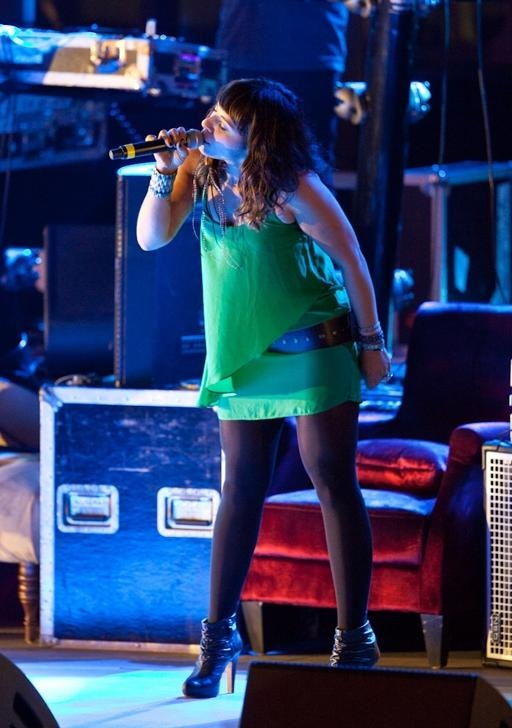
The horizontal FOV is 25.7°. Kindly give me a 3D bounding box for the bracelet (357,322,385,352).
[{"bbox_3d":[0.223,-0.052,2.137,0.037,0.040,0.050,-2,7,-6],"label":"bracelet"}]

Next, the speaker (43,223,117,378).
[{"bbox_3d":[-0.458,-0.156,2.871,0.174,0.396,0.153,-1,9,-11],"label":"speaker"}]

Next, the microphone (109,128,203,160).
[{"bbox_3d":[-0.209,-0.410,2.073,0.179,0.053,0.261,-3,11,-19],"label":"microphone"}]

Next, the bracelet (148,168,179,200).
[{"bbox_3d":[-0.182,-0.358,2.184,0.049,0.060,0.053,22,16,0],"label":"bracelet"}]

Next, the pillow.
[{"bbox_3d":[0.338,0.237,2.654,0.133,0.068,0.146,1,12,-2],"label":"pillow"}]

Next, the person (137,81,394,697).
[{"bbox_3d":[0.051,0.059,2.137,0.393,1.171,0.219,2,9,8],"label":"person"}]
